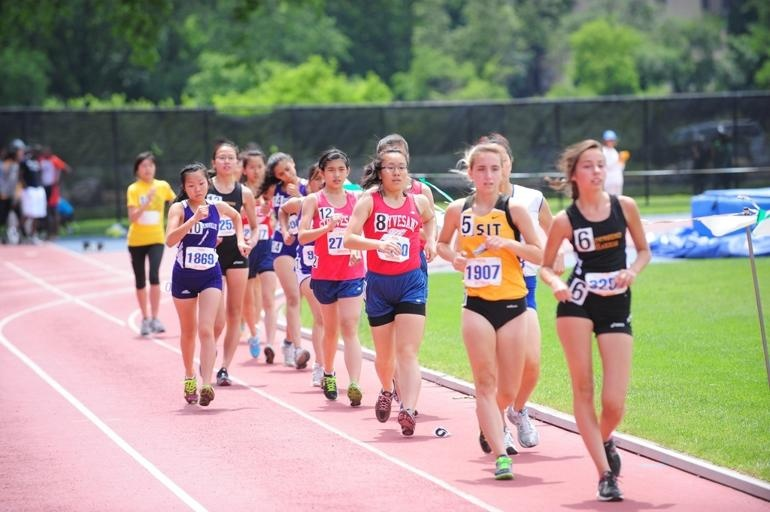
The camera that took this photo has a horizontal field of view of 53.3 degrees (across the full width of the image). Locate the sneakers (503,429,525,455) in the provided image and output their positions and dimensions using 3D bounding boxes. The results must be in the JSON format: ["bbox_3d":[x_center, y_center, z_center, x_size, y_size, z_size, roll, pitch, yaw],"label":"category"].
[{"bbox_3d":[1.278,1.879,7.754,0.113,0.156,0.342,-2,2,-1],"label":"sneakers"}]

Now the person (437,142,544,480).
[{"bbox_3d":[0.982,0.501,7.122,0.958,3.091,0.618,2,7,27],"label":"person"}]

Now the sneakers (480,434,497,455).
[{"bbox_3d":[1.017,1.918,7.764,0.094,0.265,0.106,-13,-27,-20],"label":"sneakers"}]

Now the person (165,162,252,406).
[{"bbox_3d":[-2.253,0.332,9.448,0.658,2.931,1.030,0,6,10],"label":"person"}]

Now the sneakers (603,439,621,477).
[{"bbox_3d":[2.001,1.788,6.779,0.133,0.407,0.159,-7,-10,9],"label":"sneakers"}]

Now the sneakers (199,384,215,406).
[{"bbox_3d":[-2.132,1.655,9.134,0.123,0.300,0.136,8,27,-1],"label":"sneakers"}]

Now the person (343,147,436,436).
[{"bbox_3d":[0.108,0.378,8.387,0.793,3.086,1.042,2,7,25],"label":"person"}]

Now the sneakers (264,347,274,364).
[{"bbox_3d":[-1.714,1.457,11.424,0.113,0.318,0.136,0,32,3],"label":"sneakers"}]

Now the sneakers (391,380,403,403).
[{"bbox_3d":[0.129,1.595,8.996,0.088,0.265,0.103,-8,17,1],"label":"sneakers"}]

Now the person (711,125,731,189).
[{"bbox_3d":[11.758,-3.535,26.866,0.648,2.206,0.371,2,7,23],"label":"person"}]

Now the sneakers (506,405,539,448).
[{"bbox_3d":[1.426,1.790,7.898,0.191,0.225,0.527,-28,55,-2],"label":"sneakers"}]

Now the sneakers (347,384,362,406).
[{"bbox_3d":[-0.365,1.650,9.171,0.130,0.332,0.140,-2,42,-3],"label":"sneakers"}]

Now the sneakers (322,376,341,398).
[{"bbox_3d":[-0.673,1.627,9.550,0.119,0.154,0.355,-5,17,-17],"label":"sneakers"}]

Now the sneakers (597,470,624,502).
[{"bbox_3d":[1.905,1.973,6.513,0.136,0.153,0.326,-1,-5,-2],"label":"sneakers"}]

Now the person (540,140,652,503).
[{"bbox_3d":[1.813,0.535,6.708,0.881,3.090,0.675,1,7,20],"label":"person"}]

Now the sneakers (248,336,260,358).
[{"bbox_3d":[-2.022,1.391,11.852,0.155,0.320,0.194,-5,8,-7],"label":"sneakers"}]

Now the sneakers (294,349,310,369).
[{"bbox_3d":[-1.205,1.476,11.057,0.156,0.363,0.167,-20,54,-22],"label":"sneakers"}]

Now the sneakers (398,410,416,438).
[{"bbox_3d":[0.229,1.772,8.166,0.132,0.354,0.161,-1,27,20],"label":"sneakers"}]

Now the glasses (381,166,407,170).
[{"bbox_3d":[0.095,-0.935,8.144,0.232,0.051,0.059,-2,6,-6],"label":"glasses"}]

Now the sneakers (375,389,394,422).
[{"bbox_3d":[-0.007,1.653,8.476,0.137,0.413,0.160,7,-8,-14],"label":"sneakers"}]
